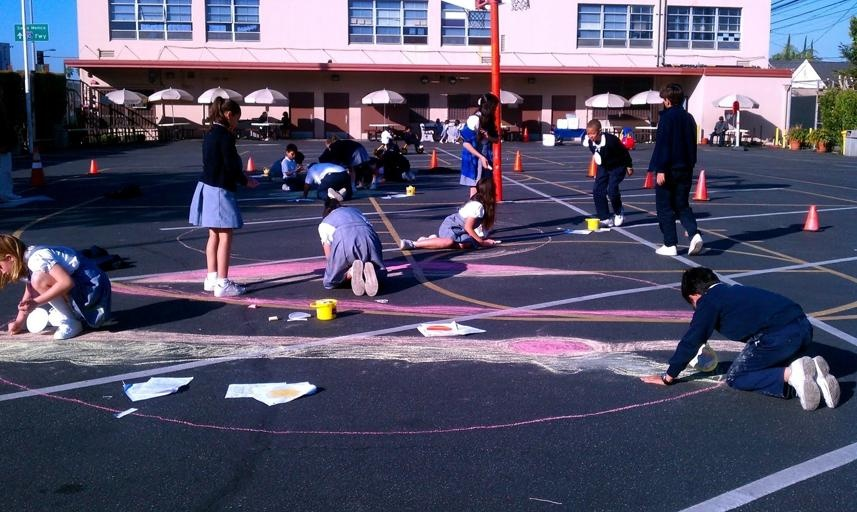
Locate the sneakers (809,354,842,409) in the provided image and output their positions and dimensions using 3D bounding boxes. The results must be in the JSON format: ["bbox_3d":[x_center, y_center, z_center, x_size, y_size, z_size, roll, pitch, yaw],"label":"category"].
[{"bbox_3d":[4.024,1.293,7.775,0.219,0.616,0.256,-17,-3,2],"label":"sneakers"}]

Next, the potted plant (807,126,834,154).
[{"bbox_3d":[18.050,-5.361,34.839,1.407,1.377,1.432,0,5,19],"label":"potted plant"}]

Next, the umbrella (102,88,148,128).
[{"bbox_3d":[-15.726,-7.737,39.255,1.995,1.324,1.927,6,11,1],"label":"umbrella"}]

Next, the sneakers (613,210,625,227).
[{"bbox_3d":[3.604,-0.702,14.301,0.128,0.349,0.137,3,-26,-6],"label":"sneakers"}]

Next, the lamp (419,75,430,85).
[{"bbox_3d":[-0.281,-10.534,44.562,0.511,0.486,0.126,-2,18,6],"label":"lamp"}]

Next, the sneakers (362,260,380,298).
[{"bbox_3d":[-0.796,0.327,10.304,0.226,0.436,0.155,-11,-7,14],"label":"sneakers"}]

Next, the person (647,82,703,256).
[{"bbox_3d":[3.960,-1.384,12.062,0.831,2.710,0.991,4,15,18],"label":"person"}]

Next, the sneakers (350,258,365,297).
[{"bbox_3d":[-0.971,0.299,10.308,0.214,0.430,0.173,-1,-2,6],"label":"sneakers"}]

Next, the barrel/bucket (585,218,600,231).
[{"bbox_3d":[3.070,-0.590,14.124,0.204,0.200,0.272,0,-1,7],"label":"barrel/bucket"}]

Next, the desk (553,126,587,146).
[{"bbox_3d":[7.744,-6.778,42.129,1.599,0.938,3.820,3,15,11],"label":"desk"}]

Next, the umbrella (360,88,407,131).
[{"bbox_3d":[-2.521,-8.097,41.753,2.332,2.016,2.267,-1,18,0],"label":"umbrella"}]

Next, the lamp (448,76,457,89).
[{"bbox_3d":[1.349,-10.482,44.871,0.697,0.685,0.164,-1,8,-18],"label":"lamp"}]

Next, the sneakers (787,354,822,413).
[{"bbox_3d":[3.808,1.284,7.746,0.245,0.623,0.282,-9,-5,-1],"label":"sneakers"}]

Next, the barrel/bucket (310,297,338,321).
[{"bbox_3d":[-1.338,0.691,9.622,0.279,0.186,0.225,-4,10,-17],"label":"barrel/bucket"}]

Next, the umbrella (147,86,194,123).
[{"bbox_3d":[-13.979,-8.661,40.869,1.975,1.507,2.009,-14,18,-43],"label":"umbrella"}]

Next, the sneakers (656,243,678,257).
[{"bbox_3d":[3.808,-0.108,12.191,0.164,0.119,0.293,-2,6,-25],"label":"sneakers"}]

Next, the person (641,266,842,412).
[{"bbox_3d":[3.173,0.919,7.862,1.314,1.066,1.731,-24,30,-34],"label":"person"}]

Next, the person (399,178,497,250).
[{"bbox_3d":[0.329,-0.695,12.512,1.794,1.190,0.938,-7,18,-32],"label":"person"}]

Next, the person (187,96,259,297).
[{"bbox_3d":[-2.851,-0.805,10.252,0.800,2.646,0.700,-5,15,-19],"label":"person"}]

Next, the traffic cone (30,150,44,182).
[{"bbox_3d":[-10.057,-2.332,19.292,0.266,0.926,0.694,-7,15,-23],"label":"traffic cone"}]

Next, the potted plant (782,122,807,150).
[{"bbox_3d":[17.939,-5.774,36.970,0.938,0.972,2.857,6,16,24],"label":"potted plant"}]

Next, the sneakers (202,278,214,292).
[{"bbox_3d":[-3.042,0.396,10.390,0.185,0.182,0.172,-4,12,-22],"label":"sneakers"}]

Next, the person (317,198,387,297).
[{"bbox_3d":[-1.086,-0.127,10.596,0.634,0.575,1.576,-11,28,-8],"label":"person"}]

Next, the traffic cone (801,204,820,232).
[{"bbox_3d":[7.144,-0.745,14.085,0.273,0.426,0.786,7,16,26],"label":"traffic cone"}]

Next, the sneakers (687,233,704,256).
[{"bbox_3d":[4.250,-0.149,12.010,0.172,0.172,0.405,1,-8,9],"label":"sneakers"}]

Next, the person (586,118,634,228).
[{"bbox_3d":[3.326,-1.560,14.160,0.876,2.043,0.550,-5,14,-17],"label":"person"}]
